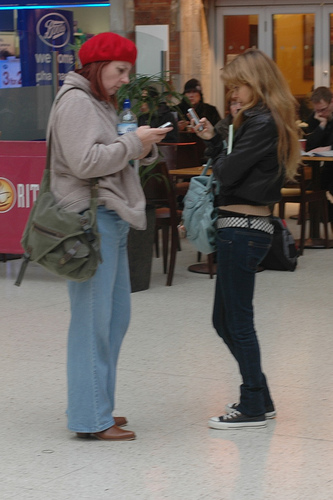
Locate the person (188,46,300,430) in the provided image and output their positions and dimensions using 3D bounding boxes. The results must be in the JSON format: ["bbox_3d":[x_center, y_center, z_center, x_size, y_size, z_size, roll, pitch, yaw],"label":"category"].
[{"bbox_3d":[0.334,-0.025,1.855,0.470,1.545,0.496,-1,0,3],"label":"person"}]

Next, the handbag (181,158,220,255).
[{"bbox_3d":[0.151,-0.204,2.014,0.164,0.443,0.417,-1,0,3],"label":"handbag"}]

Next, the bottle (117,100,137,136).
[{"bbox_3d":[-0.152,-0.492,1.731,0.072,0.174,0.070,0,19,0],"label":"bottle"}]

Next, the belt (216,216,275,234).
[{"bbox_3d":[0.317,-0.100,1.800,0.236,0.072,0.213,0,0,8],"label":"belt"}]

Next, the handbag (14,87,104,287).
[{"bbox_3d":[-0.325,-0.202,1.487,0.298,0.654,0.183,10,11,17],"label":"handbag"}]
